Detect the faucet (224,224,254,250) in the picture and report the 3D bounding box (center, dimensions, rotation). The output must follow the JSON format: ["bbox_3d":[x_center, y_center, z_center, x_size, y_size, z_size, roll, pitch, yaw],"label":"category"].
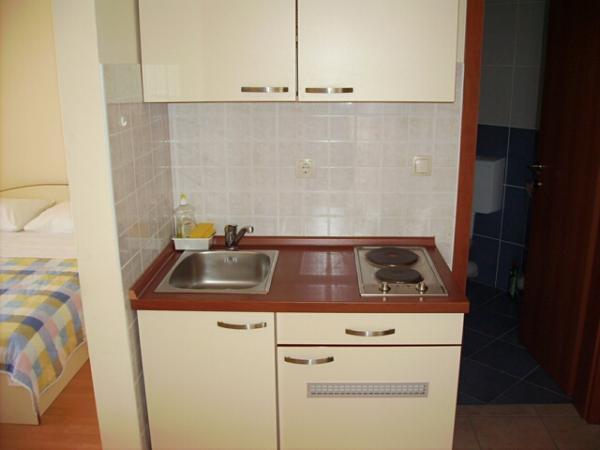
[{"bbox_3d":[-0.339,0.062,2.534,0.173,0.131,0.077,1,16,10],"label":"faucet"}]

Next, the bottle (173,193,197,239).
[{"bbox_3d":[-0.640,-0.053,2.549,0.122,0.240,0.172,-1,16,0],"label":"bottle"}]

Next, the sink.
[{"bbox_3d":[-0.405,0.253,2.465,0.337,0.121,0.276,0,26,0],"label":"sink"}]

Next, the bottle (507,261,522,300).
[{"bbox_3d":[1.905,0.480,4.133,0.101,0.307,0.157,2,16,10],"label":"bottle"}]

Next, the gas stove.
[{"bbox_3d":[0.459,0.190,2.235,0.383,0.520,0.068,-1,55,18],"label":"gas stove"}]
